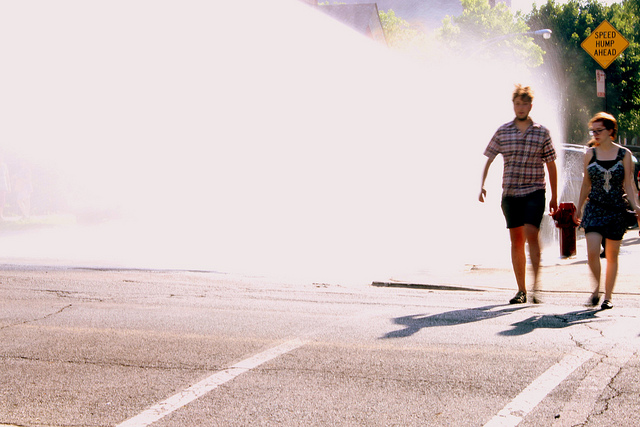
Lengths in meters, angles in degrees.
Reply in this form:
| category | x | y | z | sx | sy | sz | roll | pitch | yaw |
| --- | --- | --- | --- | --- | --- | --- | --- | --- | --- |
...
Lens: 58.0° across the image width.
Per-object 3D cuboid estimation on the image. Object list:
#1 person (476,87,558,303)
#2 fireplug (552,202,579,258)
| category | x | y | z | sx | sy | sz | roll | pitch | yaw |
| --- | --- | --- | --- | --- | --- | --- | --- | --- | --- |
| person | 2.515 | -0.210 | 7.228 | 0.830 | 2.694 | 0.467 | 1 | 3 | 23 |
| fireplug | 5.256 | 0.371 | 12.347 | 0.520 | 1.379 | 0.506 | -1 | -1 | 9 |
